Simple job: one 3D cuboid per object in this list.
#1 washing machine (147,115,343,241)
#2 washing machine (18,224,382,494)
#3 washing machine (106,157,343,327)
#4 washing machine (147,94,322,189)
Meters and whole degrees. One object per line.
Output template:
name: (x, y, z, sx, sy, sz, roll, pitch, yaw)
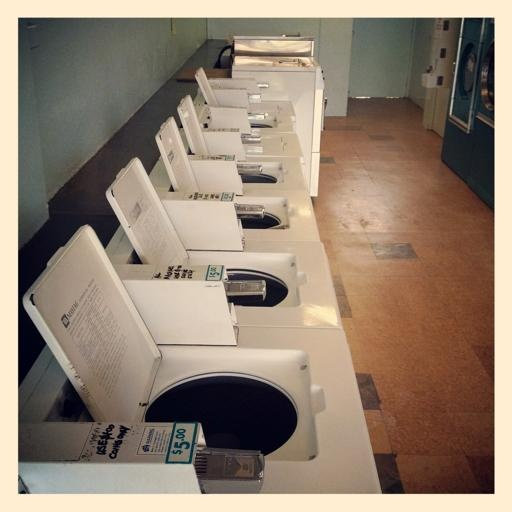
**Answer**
washing machine: (-0.089, -0.523, 2.376, 0.751, 0.650, 0.455, 22, 63, 32)
washing machine: (-0.079, 0.372, 1.119, 0.653, 0.489, 0.710, 1, 38, -3)
washing machine: (-0.079, 0.043, 1.623, 0.699, 0.502, 0.721, 0, 32, 1)
washing machine: (-0.140, -0.848, 2.942, 0.834, 0.737, 0.949, -2, 36, 1)
